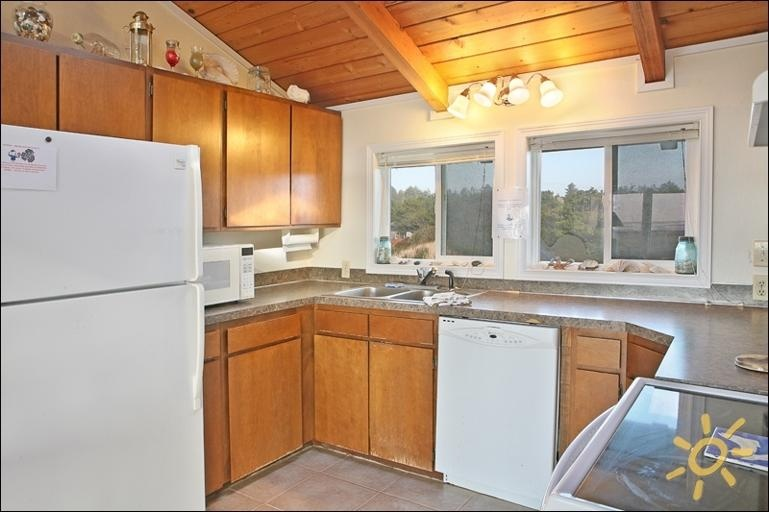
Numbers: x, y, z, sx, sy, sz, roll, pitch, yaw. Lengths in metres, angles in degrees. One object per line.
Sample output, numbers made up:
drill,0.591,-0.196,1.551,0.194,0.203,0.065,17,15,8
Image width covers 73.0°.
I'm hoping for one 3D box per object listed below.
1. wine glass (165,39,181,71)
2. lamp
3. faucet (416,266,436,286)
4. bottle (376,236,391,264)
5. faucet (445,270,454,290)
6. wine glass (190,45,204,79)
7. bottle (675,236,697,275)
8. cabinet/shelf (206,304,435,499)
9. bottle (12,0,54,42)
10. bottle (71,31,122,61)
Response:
wine glass,-1.299,-1.232,3.179,0.066,0.158,0.164,-2,4,-18
lamp,0.785,-1.075,3.403,0.746,0.270,0.400,1,4,16
faucet,0.310,0.145,3.788,0.134,0.135,0.179,0,4,5
bottle,-0.009,-0.047,4.050,0.094,0.214,0.112,-5,6,-45
faucet,0.462,0.166,3.685,0.066,0.137,0.174,0,4,8
wine glass,-1.177,-1.207,3.267,0.081,0.157,0.190,-2,4,-19
bottle,1.829,-0.005,3.142,0.116,0.229,0.090,2,5,30
cabinet/shelf,-0.472,0.825,3.158,1.195,0.839,1.198,-2,-2,40
bottle,-1.754,-1.164,2.590,0.168,0.199,0.162,-3,5,-31
bottle,-1.586,-1.152,2.885,0.243,0.158,0.084,15,1,-33
